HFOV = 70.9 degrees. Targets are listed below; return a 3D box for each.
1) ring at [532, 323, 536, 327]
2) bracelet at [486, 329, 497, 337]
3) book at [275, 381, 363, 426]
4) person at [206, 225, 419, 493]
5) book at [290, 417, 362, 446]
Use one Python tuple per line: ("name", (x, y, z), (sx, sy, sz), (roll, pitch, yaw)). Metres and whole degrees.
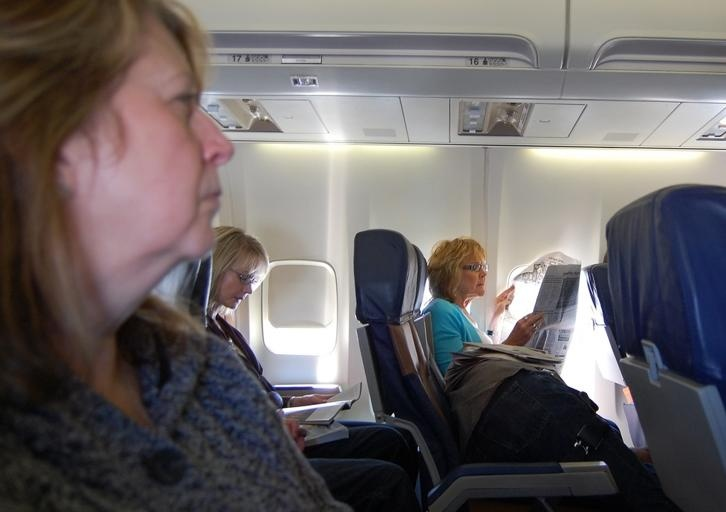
("ring", (1.044, 0.426, 3.119), (0.008, 0.015, 0.022), (-2, 9, -45))
("bracelet", (0.971, 0.580, 3.873), (0.062, 0.083, 0.037), (-1, -1, 5))
("book", (-0.153, 0.673, 2.260), (0.264, 0.075, 0.244), (2, -10, -37))
("person", (-0.188, 0.526, 2.387), (0.935, 1.050, 0.796), (-9, -9, -11))
("book", (-0.184, 0.687, 1.982), (0.158, 0.048, 0.167), (1, -4, -39))
